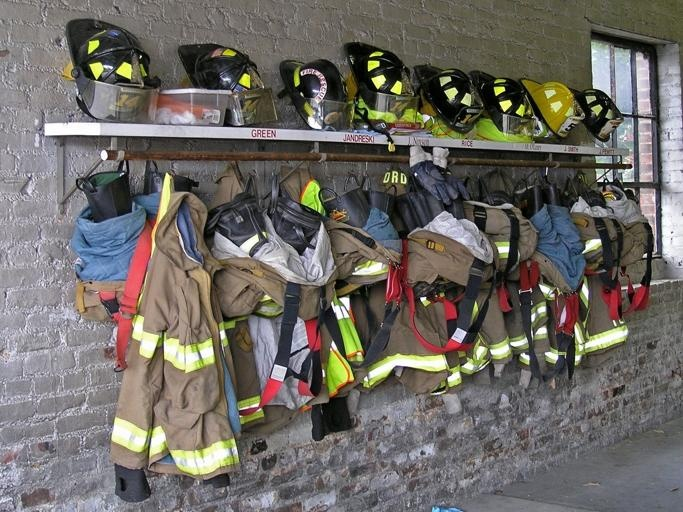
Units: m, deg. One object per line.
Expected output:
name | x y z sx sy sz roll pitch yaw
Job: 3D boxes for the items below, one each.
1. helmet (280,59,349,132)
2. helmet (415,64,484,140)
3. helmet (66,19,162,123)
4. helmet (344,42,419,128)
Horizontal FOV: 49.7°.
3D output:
helmet | -0.140 -0.824 3.759 0.344 0.374 0.213 -2 6 -6
helmet | 0.599 -0.874 4.135 0.374 0.416 0.235 -1 6 5
helmet | -1.051 -0.842 3.370 0.403 0.355 0.510 -1 29 -38
helmet | 0.216 -0.918 4.053 0.366 0.401 0.515 -4 30 -29
